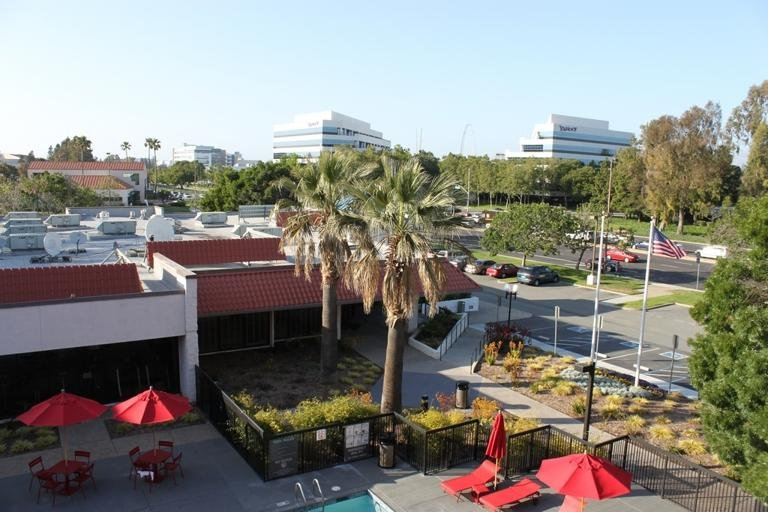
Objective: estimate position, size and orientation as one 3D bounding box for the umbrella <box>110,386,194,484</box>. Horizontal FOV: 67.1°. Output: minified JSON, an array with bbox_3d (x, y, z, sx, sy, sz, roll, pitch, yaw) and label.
[{"bbox_3d":[-9.340,7.361,23.394,2.489,2.932,2.561,14,21,29],"label":"umbrella"}]

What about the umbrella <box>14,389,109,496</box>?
[{"bbox_3d":[-11.786,6.810,22.406,3.281,4.191,3.490,0,4,0],"label":"umbrella"}]

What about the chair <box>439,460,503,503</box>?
[{"bbox_3d":[3.399,8.438,21.880,1.899,0.843,1.105,-3,9,-31],"label":"chair"}]

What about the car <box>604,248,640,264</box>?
[{"bbox_3d":[27.827,-0.042,68.171,3.472,1.206,1.540,4,13,18],"label":"car"}]

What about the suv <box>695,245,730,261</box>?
[{"bbox_3d":[36.414,-0.395,64.216,1.427,1.634,4.019,0,11,-10],"label":"suv"}]

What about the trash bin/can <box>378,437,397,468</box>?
[{"bbox_3d":[0.121,7.794,23.484,0.705,1.262,0.729,1,10,0],"label":"trash bin/can"}]
